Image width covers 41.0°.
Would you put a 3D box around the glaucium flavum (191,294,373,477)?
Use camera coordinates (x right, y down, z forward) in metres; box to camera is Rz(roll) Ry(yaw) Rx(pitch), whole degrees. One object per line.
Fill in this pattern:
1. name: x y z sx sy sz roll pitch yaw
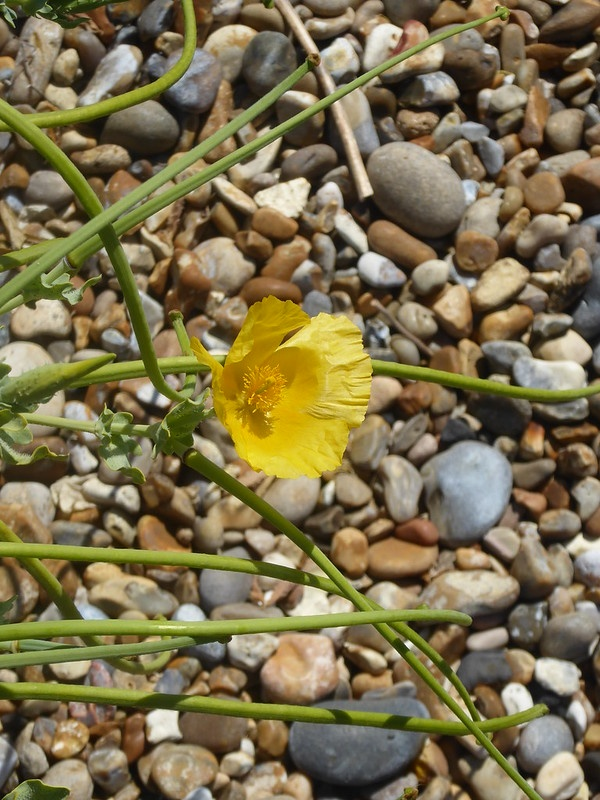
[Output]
1. glaucium flavum: -0.044 -0.011 1.096 0.266 0.100 0.218 8 66 -18
